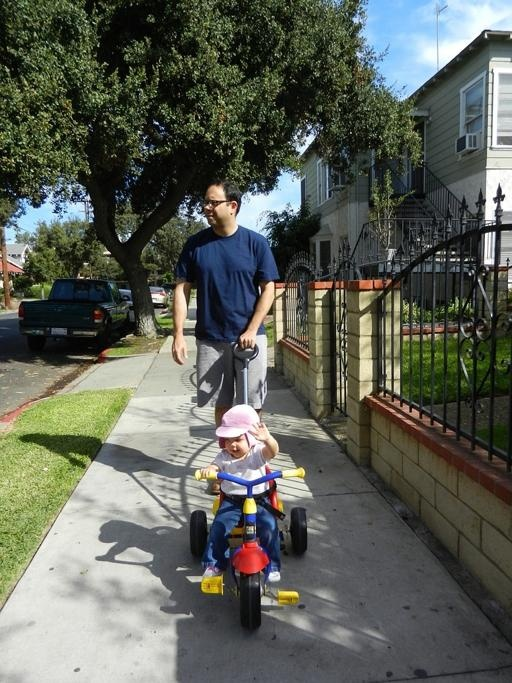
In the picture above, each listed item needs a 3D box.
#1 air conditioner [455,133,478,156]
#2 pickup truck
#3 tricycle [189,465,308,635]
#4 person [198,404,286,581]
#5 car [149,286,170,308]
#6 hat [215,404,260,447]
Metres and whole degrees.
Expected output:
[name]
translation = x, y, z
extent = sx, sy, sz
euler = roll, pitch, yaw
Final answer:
[air conditioner]
translation = 4.915, -4.651, 13.297
extent = 0.351, 0.405, 0.599
euler = -2, 6, -7
[pickup truck]
translation = -3.946, -0.690, 13.024
extent = 1.585, 1.525, 3.577
euler = 1, 7, -1
[tricycle]
translation = -0.043, 0.848, 2.629
extent = 0.543, 0.617, 0.949
euler = 0, 6, 0
[person]
translation = -0.073, 0.694, 2.546
extent = 0.310, 0.753, 0.414
euler = 1, -2, -4
[car]
translation = -5.169, -2.396, 30.923
extent = 0.859, 1.121, 4.328
euler = -2, 6, -7
[hat]
translation = -0.080, 0.380, 2.542
extent = 0.187, 0.181, 0.274
euler = 4, 6, -5
